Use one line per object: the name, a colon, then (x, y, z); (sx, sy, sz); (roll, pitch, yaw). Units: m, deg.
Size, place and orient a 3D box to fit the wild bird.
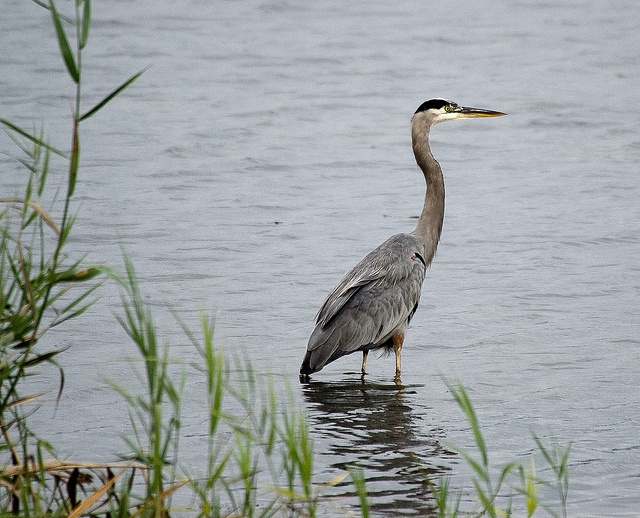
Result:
wild bird: (0.609, -0.203, 9.239); (1.509, 2.843, 0.386); (2, -25, -2)
